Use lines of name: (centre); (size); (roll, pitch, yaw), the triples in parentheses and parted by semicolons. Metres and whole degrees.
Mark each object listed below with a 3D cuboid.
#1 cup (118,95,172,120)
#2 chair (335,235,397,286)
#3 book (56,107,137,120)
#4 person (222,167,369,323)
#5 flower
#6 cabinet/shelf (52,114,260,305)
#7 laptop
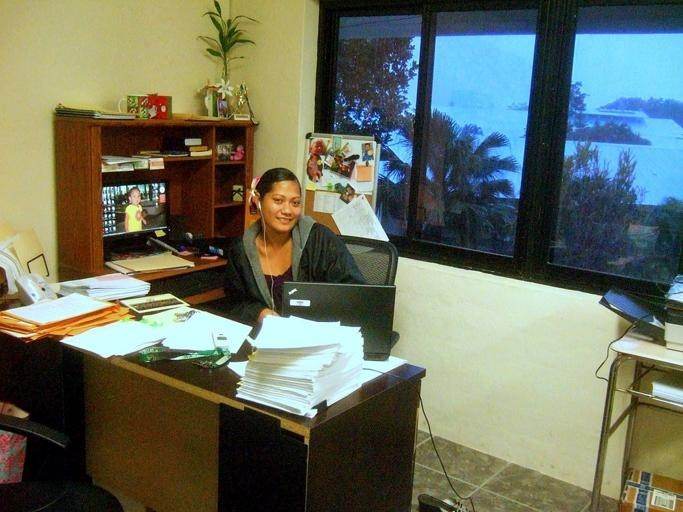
cup: (-1.242, -0.928, 3.421); (0.255, 0.164, 0.158); (1, 11, 3)
chair: (0.136, 0.016, 3.043); (0.247, 0.330, 0.268); (-5, 14, -22)
book: (-1.521, -0.851, 3.232); (0.472, 0.070, 0.217); (1, 14, 5)
person: (-0.236, -0.020, 2.865); (0.785, 0.814, 0.597); (-2, 25, -4)
flower: (-0.842, -1.543, 3.999); (0.363, 0.703, 0.344); (-11, 17, -40)
cabinet/shelf: (-1.226, -0.291, 3.436); (0.426, 1.194, 1.185); (7, 11, 35)
laptop: (0.030, 0.193, 2.305); (0.398, 0.296, 0.287); (1, 12, 4)
